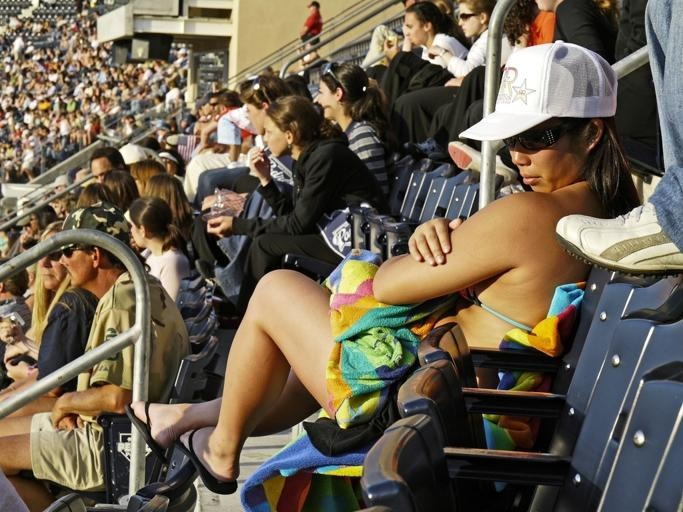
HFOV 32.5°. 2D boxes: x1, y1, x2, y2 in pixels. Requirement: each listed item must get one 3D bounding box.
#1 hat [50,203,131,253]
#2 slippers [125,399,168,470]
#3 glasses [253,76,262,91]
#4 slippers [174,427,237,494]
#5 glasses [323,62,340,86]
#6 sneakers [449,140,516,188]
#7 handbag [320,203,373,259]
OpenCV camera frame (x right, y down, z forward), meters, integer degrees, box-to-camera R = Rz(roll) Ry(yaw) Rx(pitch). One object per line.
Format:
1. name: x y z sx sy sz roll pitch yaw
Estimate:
1. hat: -1.322 -0.130 6.247 0.363 0.224 0.259 1 1 -28
2. slippers: -0.923 0.804 5.294 0.087 0.354 0.131 -29 -4 -8
3. glasses: -0.604 -1.237 8.384 0.029 0.088 0.059 14 -11 -23
4. slippers: -0.588 0.931 5.116 0.144 0.106 0.401 -24 63 -32
5. glasses: -0.074 -1.229 7.801 0.040 0.152 0.140 -13 17 -2
6. sneakers: 0.710 -0.458 5.892 0.127 0.340 0.153 -46 12 53
7. handbag: -0.027 -0.204 7.021 0.335 0.256 0.082 -36 -26 29
